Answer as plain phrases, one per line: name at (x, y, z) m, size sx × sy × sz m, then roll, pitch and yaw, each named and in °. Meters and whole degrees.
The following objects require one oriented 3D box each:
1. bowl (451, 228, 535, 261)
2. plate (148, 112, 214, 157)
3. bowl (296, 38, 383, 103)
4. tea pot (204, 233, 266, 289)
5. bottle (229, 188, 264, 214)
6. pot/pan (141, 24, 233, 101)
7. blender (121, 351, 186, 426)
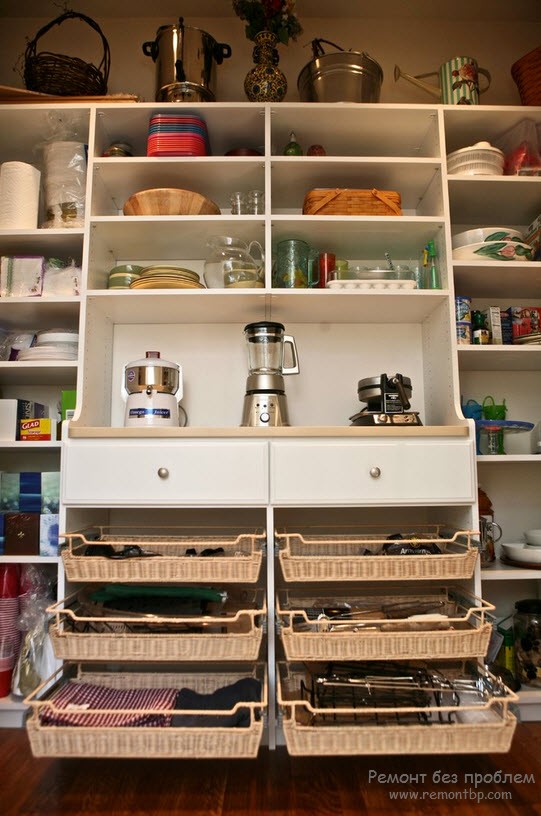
bowl at (0.732, -0.531, 2.129) m, size 0.159 × 0.060 × 0.157 m, roll -1°, pitch 8°, yaw 0°
plate at (-0.299, -0.873, 2.081) m, size 0.158 × 0.098 × 0.157 m, roll -1°, pitch 3°, yaw -3°
bowl at (0.223, -1.087, 2.175) m, size 0.301 × 0.136 × 0.301 m, roll 0°, pitch 5°, yaw 0°
tea pot at (-0.102, -0.486, 2.182) m, size 0.214 × 0.207 × 0.169 m, roll 0°, pitch -1°, yaw 5°
bottle at (-0.076, -0.684, 2.173) m, size 0.127 × 0.112 × 0.075 m, roll 3°, pitch 1°, yaw 4°
pot/pan at (-0.285, -1.125, 2.164) m, size 0.250 × 0.287 × 0.162 m, roll 1°, pitch -4°, yaw -17°
blender at (-0.349, -0.055, 1.952) m, size 0.200 × 0.275 × 0.218 m, roll 0°, pitch -5°, yaw -5°
